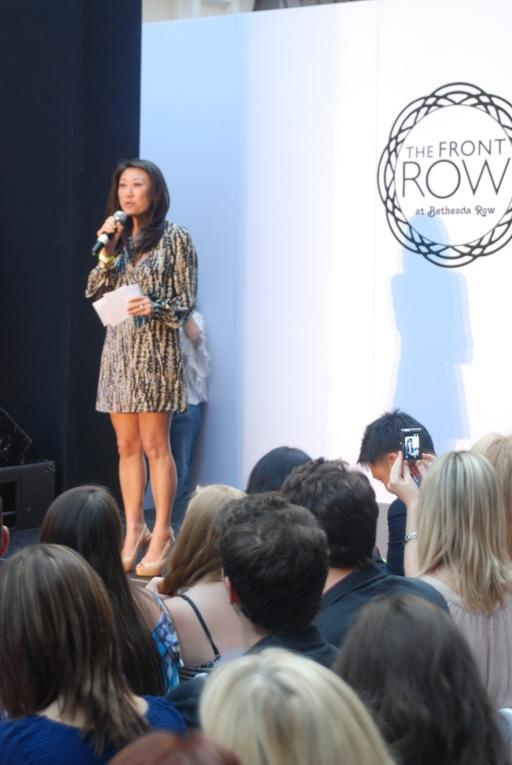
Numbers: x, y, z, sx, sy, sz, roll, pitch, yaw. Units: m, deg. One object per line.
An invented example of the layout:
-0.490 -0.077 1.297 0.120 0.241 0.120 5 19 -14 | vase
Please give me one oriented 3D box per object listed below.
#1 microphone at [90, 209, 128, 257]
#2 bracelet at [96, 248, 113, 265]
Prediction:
-0.735 -0.762 3.638 0.157 0.254 0.220 2 -2 10 | microphone
-0.765 -0.642 3.725 0.066 0.062 0.069 3 5 34 | bracelet
